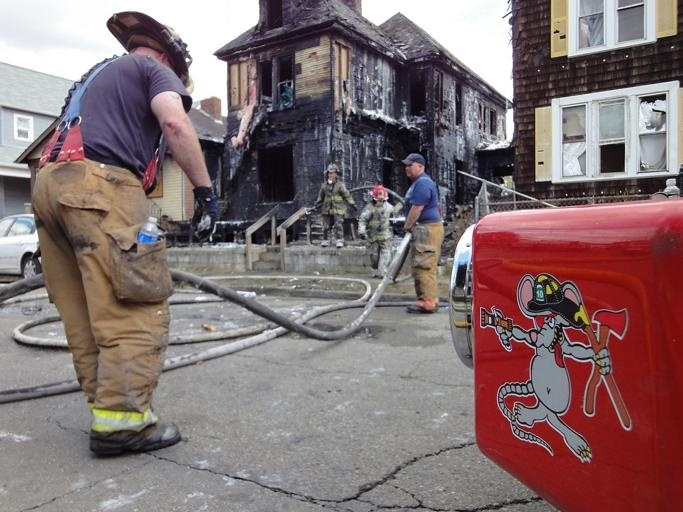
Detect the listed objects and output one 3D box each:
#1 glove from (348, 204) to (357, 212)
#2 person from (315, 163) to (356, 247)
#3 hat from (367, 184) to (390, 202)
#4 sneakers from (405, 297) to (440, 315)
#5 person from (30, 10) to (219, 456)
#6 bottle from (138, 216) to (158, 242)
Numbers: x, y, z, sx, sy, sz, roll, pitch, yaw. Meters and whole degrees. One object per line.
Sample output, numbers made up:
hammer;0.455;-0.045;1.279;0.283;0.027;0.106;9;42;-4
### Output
glove;0.320;-1.244;15.622;0.137;0.121;0.396;-3;-7;25
person;-0.143;-1.158;13.783;0.789;1.786;1.530;0;6;-2
hat;0.675;-1.120;10.696;0.276;0.278;0.656;0;6;-2
sneakers;0.907;0.551;6.761;0.303;0.132;0.149;3;-1;-6
person;-1.070;-0.049;3.027;0.882;1.961;0.598;-2;6;-13
bottle;-0.927;-0.130;2.949;0.091;0.122;0.219;-1;6;-10
